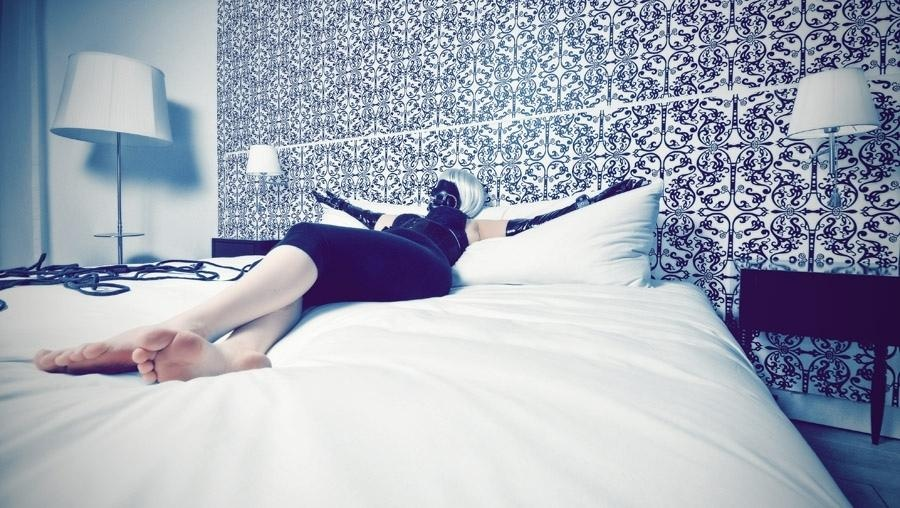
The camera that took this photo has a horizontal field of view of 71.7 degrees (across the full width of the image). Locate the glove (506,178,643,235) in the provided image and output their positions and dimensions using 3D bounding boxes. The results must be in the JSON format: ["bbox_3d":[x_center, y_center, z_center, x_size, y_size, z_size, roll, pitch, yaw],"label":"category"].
[{"bbox_3d":[0.897,-0.333,4.335,0.169,0.216,0.854,13,-15,-20],"label":"glove"}]

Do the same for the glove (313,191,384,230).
[{"bbox_3d":[-0.746,-0.331,4.702,0.666,0.184,0.150,24,34,24],"label":"glove"}]
